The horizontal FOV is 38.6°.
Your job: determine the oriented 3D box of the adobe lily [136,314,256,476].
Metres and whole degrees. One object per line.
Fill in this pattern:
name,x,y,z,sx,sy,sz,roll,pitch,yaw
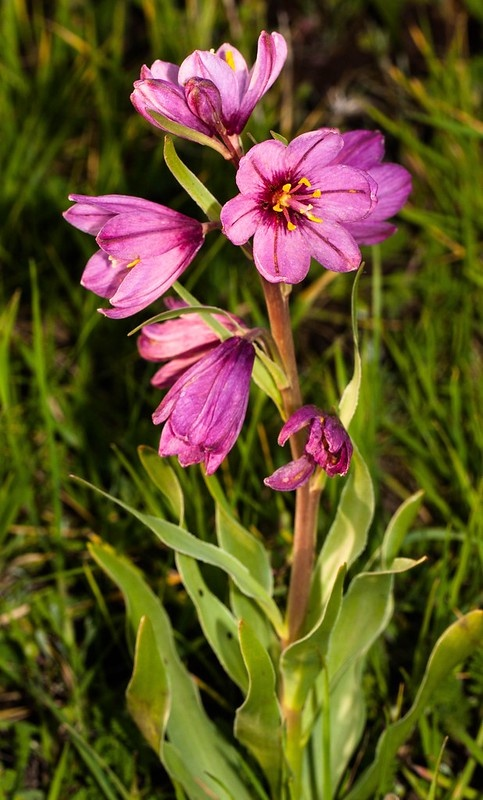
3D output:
adobe lily,-0.030,-0.015,0.888,0.101,0.261,0.168,15,102,-10

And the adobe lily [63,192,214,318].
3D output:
adobe lily,-0.142,-0.195,0.899,0.185,0.089,0.166,-26,94,2

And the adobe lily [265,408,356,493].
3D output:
adobe lily,0.077,0.060,0.843,0.108,0.053,0.087,-29,86,3
